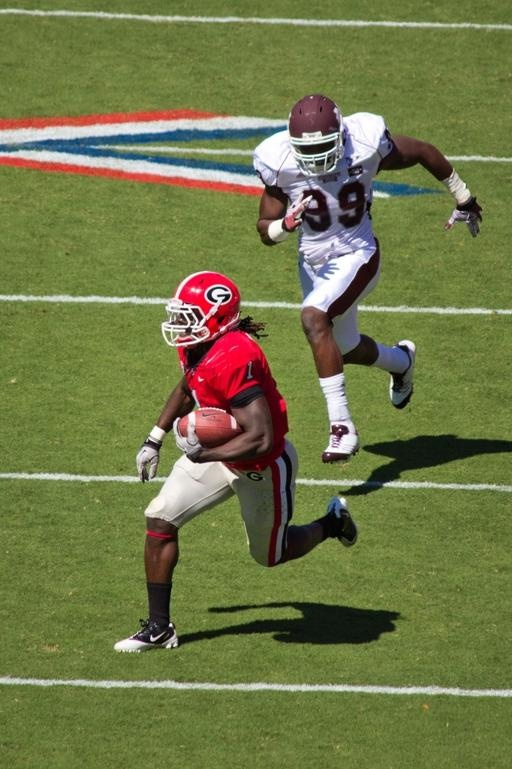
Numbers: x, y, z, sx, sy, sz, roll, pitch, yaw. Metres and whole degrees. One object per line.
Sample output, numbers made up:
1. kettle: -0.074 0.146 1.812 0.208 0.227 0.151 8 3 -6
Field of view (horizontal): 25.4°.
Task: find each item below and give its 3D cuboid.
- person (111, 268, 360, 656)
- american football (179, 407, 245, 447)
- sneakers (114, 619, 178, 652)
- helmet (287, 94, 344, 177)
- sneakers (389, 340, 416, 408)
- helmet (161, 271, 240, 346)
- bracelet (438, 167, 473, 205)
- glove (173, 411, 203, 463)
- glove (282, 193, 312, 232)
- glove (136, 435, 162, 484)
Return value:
1. person: -0.151 0.292 5.054 0.918 1.598 0.962 -2 18 14
2. american football: -0.180 0.174 4.631 0.248 0.143 0.129 -2 50 2
3. sneakers: -0.460 1.094 4.995 0.322 0.131 0.115 -1 7 -11
4. helmet: 0.342 -1.290 5.791 0.308 0.318 0.373 -1 58 7
5. sneakers: 0.832 -0.071 6.756 0.153 0.386 0.183 9 17 20
6. helmet: -0.261 -0.321 4.881 0.385 0.261 0.279 -13 23 -16
7. bracelet: 1.142 -1.134 6.499 0.223 0.138 0.098 38 17 -19
8. glove: -0.268 0.223 4.645 0.091 0.166 0.137 -3 12 -28
9. glove: 0.211 -0.891 5.820 0.080 0.144 0.236 22 -18 3
10. glove: -0.465 0.347 5.212 0.081 0.198 0.142 24 3 -31
